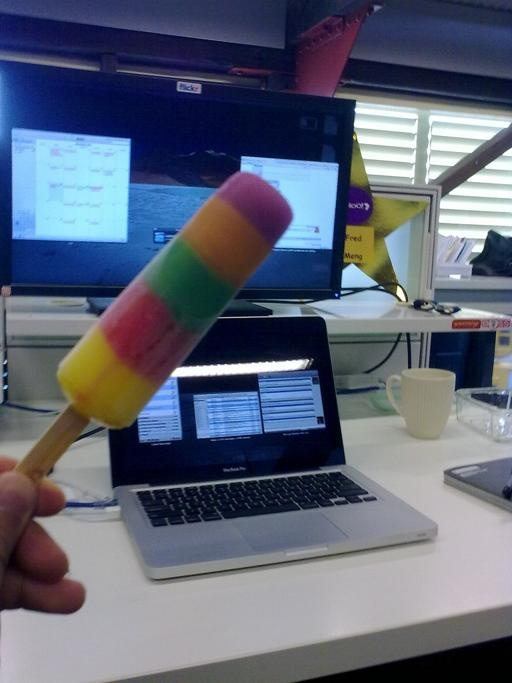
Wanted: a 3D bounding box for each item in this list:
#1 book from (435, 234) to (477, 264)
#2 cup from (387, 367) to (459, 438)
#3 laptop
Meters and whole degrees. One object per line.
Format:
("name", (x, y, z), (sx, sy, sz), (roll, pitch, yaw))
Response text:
("book", (0.799, -0.380, 2.246), (0.132, 0.130, 0.313), (5, 8, 18))
("cup", (0.275, 0.109, 0.949), (0.122, 0.106, 0.089), (4, 6, 22))
("laptop", (-0.003, 0.078, 0.625), (0.287, 0.187, 0.288), (1, 3, -23))
